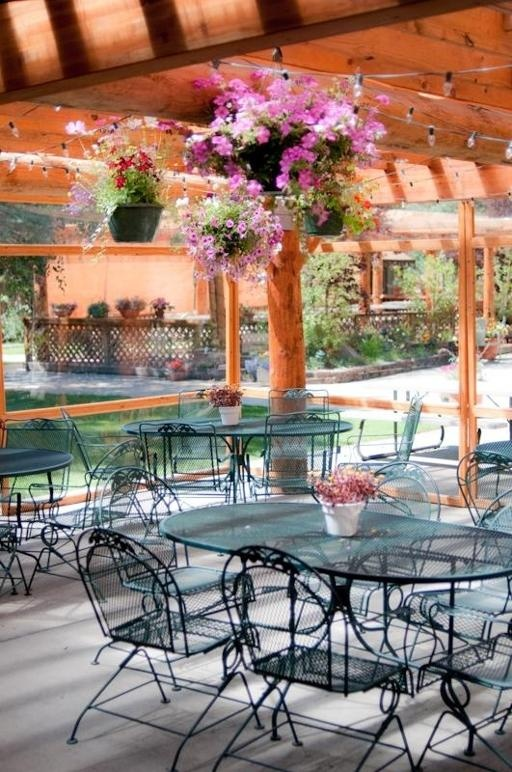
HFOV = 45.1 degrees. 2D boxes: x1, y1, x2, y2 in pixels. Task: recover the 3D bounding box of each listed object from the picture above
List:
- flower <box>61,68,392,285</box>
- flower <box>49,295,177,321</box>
[{"bbox_3d":[-0.093,-0.915,2.764,1.268,0.618,1.276,4,9,35],"label":"flower"},{"bbox_3d":[-1.560,-0.826,6.785,1.315,0.258,0.073,-6,7,-29],"label":"flower"}]
